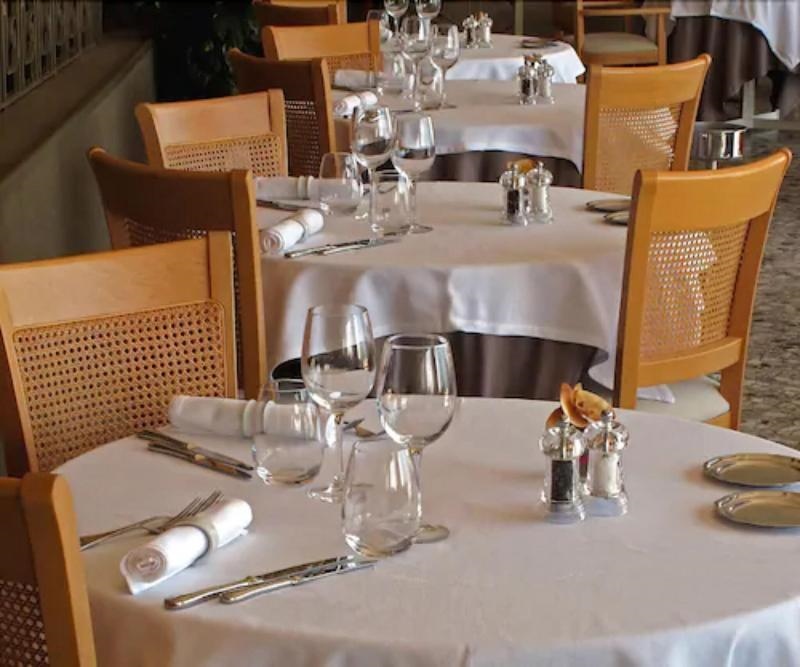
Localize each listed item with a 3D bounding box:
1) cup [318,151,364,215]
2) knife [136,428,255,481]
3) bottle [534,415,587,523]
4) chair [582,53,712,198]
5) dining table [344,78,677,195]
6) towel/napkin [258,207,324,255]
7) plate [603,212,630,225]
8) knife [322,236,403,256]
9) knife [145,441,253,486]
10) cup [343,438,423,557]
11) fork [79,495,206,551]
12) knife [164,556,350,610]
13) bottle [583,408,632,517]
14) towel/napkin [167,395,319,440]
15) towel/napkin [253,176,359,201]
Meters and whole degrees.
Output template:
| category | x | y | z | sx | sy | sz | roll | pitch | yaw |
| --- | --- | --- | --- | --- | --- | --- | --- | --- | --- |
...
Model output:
| category | x | y | z | sx | sy | sz | roll | pitch | yaw |
| --- | --- | --- | --- | --- | --- | --- | --- | --- | --- |
| cup | -0.183 | -0.447 | 2.343 | 0.140 | 0.207 | 0.149 | -2 | 1 | 0 |
| knife | -0.333 | 0.162 | 1.169 | 0.272 | 0.031 | 0.068 | 12 | 19 | 34 |
| bottle | 0.206 | 0.172 | 0.967 | 0.062 | 0.130 | 0.060 | -1 | 3 | 0 |
| chair | 1.000 | -0.823 | 3.367 | 0.405 | 0.466 | 0.602 | -22 | 4 | -22 |
| dining table | 0.472 | -1.021 | 3.811 | 1.006 | 0.274 | 1.132 | 6 | 39 | 7 |
| towel/napkin | -0.300 | -0.286 | 2.104 | 0.073 | 0.071 | 0.234 | -14 | 12 | 23 |
| plate | 0.637 | -0.341 | 2.223 | 0.099 | 0.015 | 0.101 | 1 | 31 | 6 |
| knife | -0.097 | -0.234 | 2.032 | 0.162 | 0.014 | 0.038 | -12 | 29 | -28 |
| knife | -0.299 | 0.193 | 1.117 | 0.153 | 0.018 | 0.029 | 11 | 20 | 33 |
| cup | -0.021 | 0.184 | 0.829 | 0.081 | 0.118 | 0.080 | -1 | 25 | 1 |
| fork | -0.320 | 0.236 | 0.937 | 0.024 | 0.022 | 0.178 | 25 | 29 | 38 |
| knife | -0.156 | 0.272 | 0.822 | 0.169 | 0.010 | 0.024 | -8 | 17 | -36 |
| bottle | 0.266 | 0.162 | 0.983 | 0.063 | 0.136 | 0.064 | 1 | 6 | 0 |
| towel/napkin | -0.246 | 0.144 | 1.230 | 0.268 | 0.083 | 0.075 | 3 | -5 | 3 |
| towel/napkin | -0.320 | -0.459 | 2.508 | 0.319 | 0.091 | 0.087 | 1 | -5 | -3 |
